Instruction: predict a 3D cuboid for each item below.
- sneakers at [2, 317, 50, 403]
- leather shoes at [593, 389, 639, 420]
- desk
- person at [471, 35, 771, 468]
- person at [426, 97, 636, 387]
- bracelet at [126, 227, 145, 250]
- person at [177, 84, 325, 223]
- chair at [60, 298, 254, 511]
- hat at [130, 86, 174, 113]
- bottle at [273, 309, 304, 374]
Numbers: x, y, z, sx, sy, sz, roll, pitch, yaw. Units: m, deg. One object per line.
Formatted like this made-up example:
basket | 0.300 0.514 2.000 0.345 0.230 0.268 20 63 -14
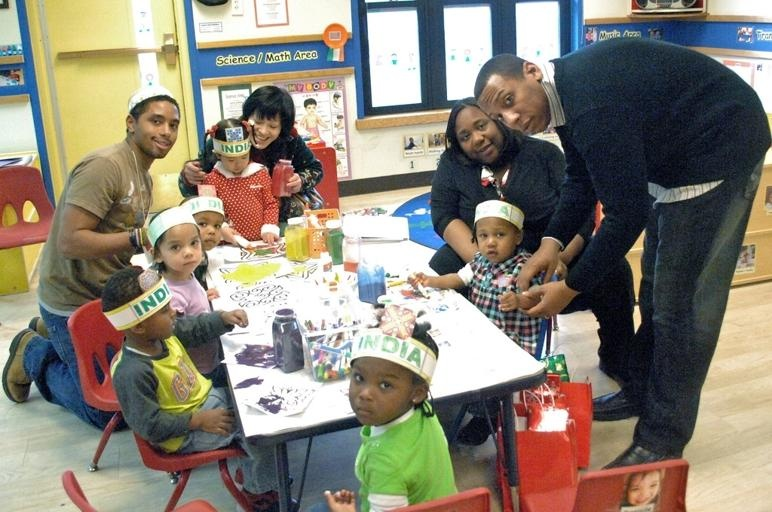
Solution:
sneakers | -2.131 0.635 3.657 0.200 0.551 0.249 12 -9 -43
leather shoes | 1.211 0.817 3.294 0.319 0.207 0.108 -1 6 4
desk | -0.013 0.624 2.697 1.161 0.577 0.883 -9 29 -14
person | 1.051 0.031 2.703 0.999 1.925 0.616 8 19 29
person | 0.677 -0.142 3.313 1.215 1.559 0.889 -9 23 20
bracelet | -1.196 -0.078 2.913 0.063 0.117 0.144 -11 18 -28
person | -0.856 -0.626 3.912 0.958 0.923 0.629 3 26 -17
chair | -0.966 0.652 2.621 0.750 0.926 0.626 -3 34 4
hat | -1.251 -0.809 3.198 0.171 0.128 0.174 9 32 45
bottle | -0.381 0.333 2.356 0.115 0.229 0.116 -2 17 1
